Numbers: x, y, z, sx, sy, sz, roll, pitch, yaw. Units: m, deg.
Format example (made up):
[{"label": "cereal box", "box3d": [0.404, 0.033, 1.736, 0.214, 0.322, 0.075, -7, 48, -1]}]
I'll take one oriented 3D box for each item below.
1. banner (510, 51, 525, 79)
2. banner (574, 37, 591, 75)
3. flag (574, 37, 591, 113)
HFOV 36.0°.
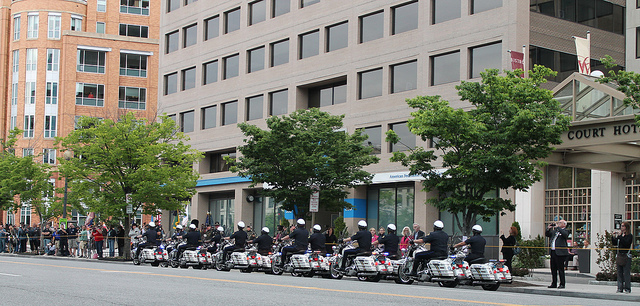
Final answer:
[{"label": "banner", "box3d": [17.439, -8.080, 86.791, 1.038, 2.048, 1.723, -5, -14, 11]}, {"label": "banner", "box3d": [22.537, -8.302, 83.904, 0.204, 2.623, 1.502, -20, 19, -41]}, {"label": "flag", "box3d": [22.544, -6.707, 83.365, 1.470, 6.765, 1.666, 1, -1, 32]}]
